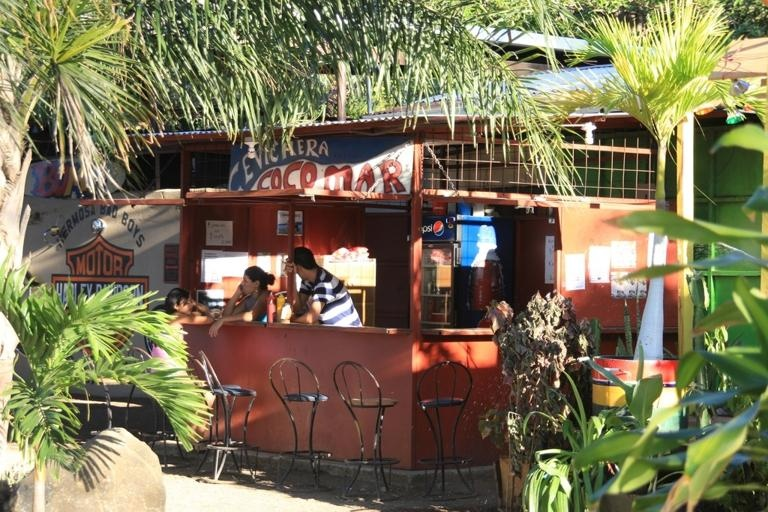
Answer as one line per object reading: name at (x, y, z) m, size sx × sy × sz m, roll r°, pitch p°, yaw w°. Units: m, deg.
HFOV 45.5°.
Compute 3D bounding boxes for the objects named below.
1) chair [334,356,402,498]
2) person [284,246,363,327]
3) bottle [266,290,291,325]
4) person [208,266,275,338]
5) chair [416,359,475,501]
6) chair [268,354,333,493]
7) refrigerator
chair at (-0.196, 1.760, 9.850) m, size 0.677 × 1.402 × 1.156 m, roll -3°, pitch 8°, yaw -5°
person at (-0.742, 0.345, 10.436) m, size 0.535 × 0.915 × 1.061 m, roll -9°, pitch 10°, yaw -41°
bottle at (-1.245, 0.624, 10.711) m, size 0.285 × 0.476 × 0.156 m, roll 2°, pitch -17°, yaw -5°
person at (-1.709, 0.553, 11.030) m, size 0.759 × 0.808 × 0.603 m, roll -3°, pitch 8°, yaw -4°
chair at (0.639, 1.777, 9.680) m, size 0.609 × 1.386 × 0.854 m, roll -2°, pitch 8°, yaw 5°
chair at (-0.945, 1.756, 10.235) m, size 0.649 × 1.377 × 1.236 m, roll -4°, pitch 8°, yaw -8°
refrigerator at (1.088, 0.246, 12.400) m, size 1.183 × 2.505 × 1.256 m, roll 1°, pitch -3°, yaw 1°
